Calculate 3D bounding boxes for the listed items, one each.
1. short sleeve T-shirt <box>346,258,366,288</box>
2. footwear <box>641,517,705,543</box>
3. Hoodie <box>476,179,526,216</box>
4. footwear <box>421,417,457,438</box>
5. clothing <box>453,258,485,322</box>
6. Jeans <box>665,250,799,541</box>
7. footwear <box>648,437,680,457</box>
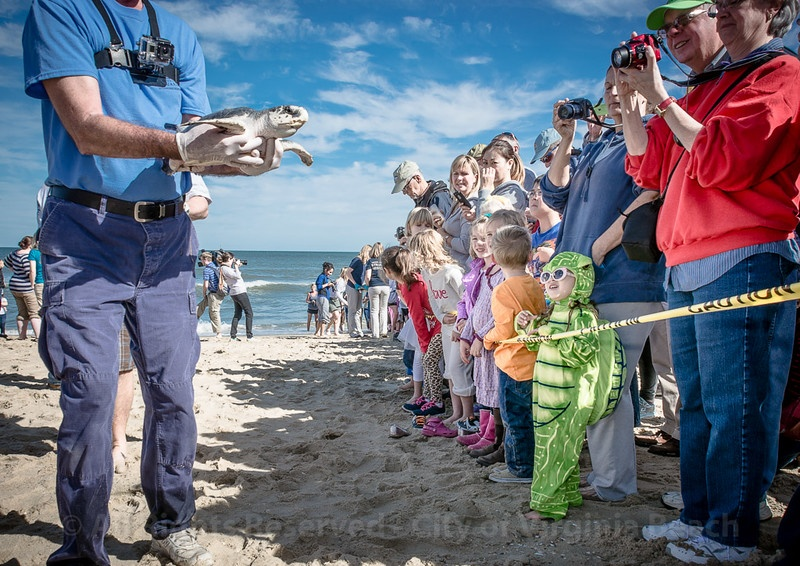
[{"bbox_3d":[-0.801,-0.185,13.038,0.361,0.578,0.578,5,6,18],"label":"short sleeve T-shirt"},{"bbox_3d":[1.429,1.288,3.810,0.303,0.106,0.103,-3,-6,16],"label":"footwear"},{"bbox_3d":[0.804,-0.686,5.920,0.412,0.176,0.268,4,42,8],"label":"Hoodie"},{"bbox_3d":[0.297,1.123,5.661,0.278,0.111,0.113,1,-6,0],"label":"footwear"},{"bbox_3d":[0.521,0.040,5.409,0.146,0.396,0.282,7,-1,-10],"label":"clothing"},{"bbox_3d":[1.683,0.559,3.668,0.596,1.432,0.467,0,12,19],"label":"Jeans"},{"bbox_3d":[1.761,1.106,4.931,0.266,0.141,0.084,1,-15,11],"label":"footwear"}]
